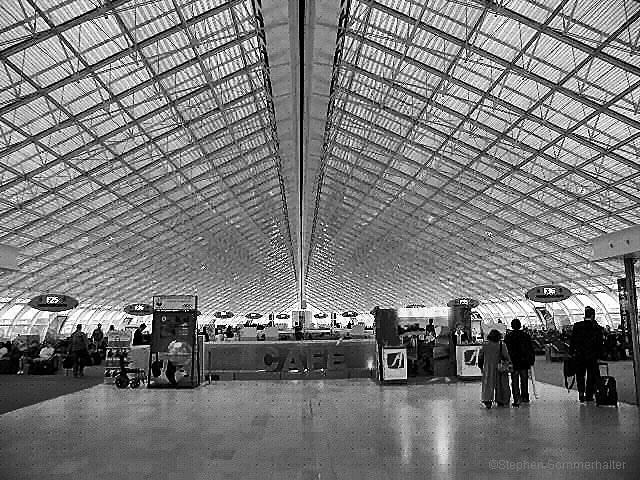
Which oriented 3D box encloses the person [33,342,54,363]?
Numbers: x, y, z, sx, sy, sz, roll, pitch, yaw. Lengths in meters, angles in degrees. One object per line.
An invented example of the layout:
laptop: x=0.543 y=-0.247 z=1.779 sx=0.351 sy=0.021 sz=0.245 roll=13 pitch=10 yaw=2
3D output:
person: x=-12.652 y=5.214 z=21.016 sx=0.699 sy=0.613 sz=0.711 roll=4 pitch=-14 yaw=-16
